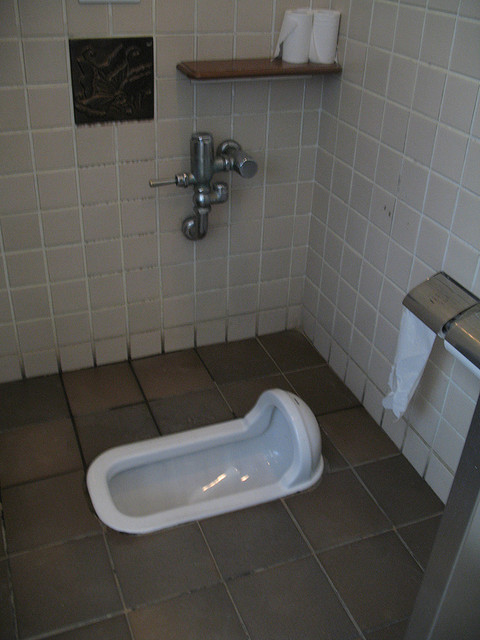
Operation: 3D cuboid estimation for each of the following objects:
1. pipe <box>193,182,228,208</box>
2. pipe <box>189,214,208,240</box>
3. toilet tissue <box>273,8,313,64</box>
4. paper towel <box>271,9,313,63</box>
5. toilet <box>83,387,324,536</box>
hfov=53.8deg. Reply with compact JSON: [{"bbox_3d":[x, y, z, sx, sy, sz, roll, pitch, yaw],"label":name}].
[{"bbox_3d":[-0.093,-0.421,1.618,0.119,0.086,0.070,-19,49,-11],"label":"pipe"},{"bbox_3d":[-0.145,-0.324,1.643,0.062,0.107,0.045,5,26,6],"label":"pipe"},{"bbox_3d":[0.166,-0.876,1.456,0.126,0.174,0.115,3,31,7],"label":"toilet tissue"},{"bbox_3d":[0.166,-0.885,1.474,0.114,0.143,0.080,4,27,4],"label":"paper towel"},{"bbox_3d":[-0.099,0.469,1.442,0.592,0.287,0.389,-10,33,-18],"label":"toilet"}]
